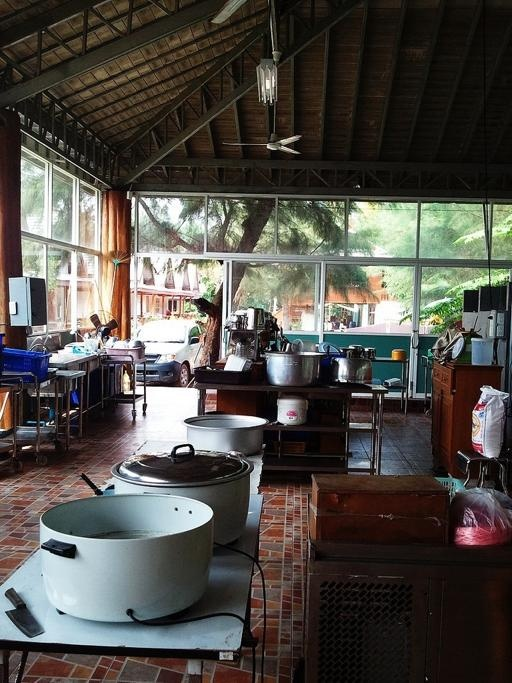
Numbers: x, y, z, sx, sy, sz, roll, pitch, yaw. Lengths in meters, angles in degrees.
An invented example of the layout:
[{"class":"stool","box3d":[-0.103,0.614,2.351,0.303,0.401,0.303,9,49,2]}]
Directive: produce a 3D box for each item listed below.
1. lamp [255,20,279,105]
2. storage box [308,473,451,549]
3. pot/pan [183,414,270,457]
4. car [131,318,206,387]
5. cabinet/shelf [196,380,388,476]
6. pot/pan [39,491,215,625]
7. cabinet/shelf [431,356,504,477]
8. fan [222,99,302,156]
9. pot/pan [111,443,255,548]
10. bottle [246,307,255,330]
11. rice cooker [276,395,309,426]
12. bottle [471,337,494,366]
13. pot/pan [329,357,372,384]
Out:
[{"class":"lamp","box3d":[0.091,-2.049,3.972,0.160,0.511,0.153,4,16,14]},{"class":"storage box","box3d":[0.347,0.469,1.512,0.391,0.159,0.239,0,4,4]},{"class":"pot/pan","box3d":[-0.058,0.315,1.806,0.230,0.083,0.230,-1,3,3]},{"class":"car","box3d":[-1.503,0.087,9.553,1.123,1.103,2.185,4,10,19]},{"class":"cabinet/shelf","box3d":[0.281,0.580,3.688,0.917,0.563,0.325,0,0,2]},{"class":"pot/pan","box3d":[-0.216,0.354,0.912,0.279,0.121,0.338,2,-2,20]},{"class":"cabinet/shelf","box3d":[1.822,0.676,4.742,0.432,0.957,1.042,3,0,8]},{"class":"fan","box3d":[0.185,-2.481,5.970,0.814,0.544,0.755,7,20,29]},{"class":"pot/pan","box3d":[-0.158,0.339,1.209,0.346,0.205,0.283,-5,3,-13]},{"class":"bottle","box3d":[-0.039,-0.212,4.849,0.048,0.177,0.146,-2,4,-23]},{"class":"rice cooker","box3d":[0.281,0.531,4.183,0.244,0.206,0.217,0,-3,4]},{"class":"bottle","box3d":[1.863,0.079,4.319,0.280,0.213,0.132,-3,4,-32]},{"class":"pot/pan","box3d":[0.766,0.234,4.149,0.230,0.135,0.222,6,-5,-28]}]
